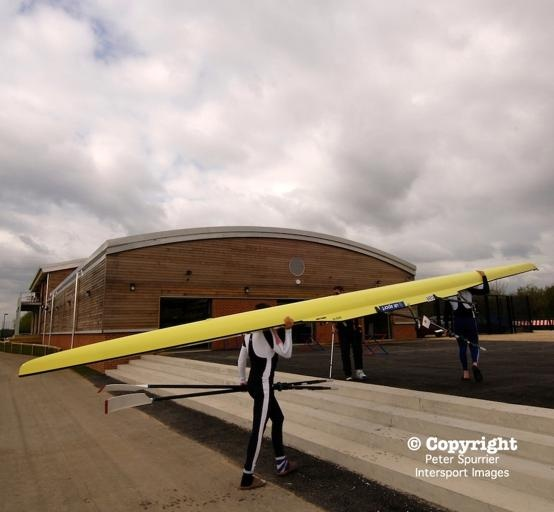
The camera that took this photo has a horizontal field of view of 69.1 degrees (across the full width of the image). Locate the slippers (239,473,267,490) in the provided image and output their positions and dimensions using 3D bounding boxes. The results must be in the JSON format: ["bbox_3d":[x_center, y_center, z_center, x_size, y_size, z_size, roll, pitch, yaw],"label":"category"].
[{"bbox_3d":[-0.276,2.561,4.610,0.327,0.104,0.152,2,-5,-24],"label":"slippers"}]

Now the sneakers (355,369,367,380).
[{"bbox_3d":[1.585,2.256,7.660,0.134,0.130,0.329,3,-15,-15],"label":"sneakers"}]
